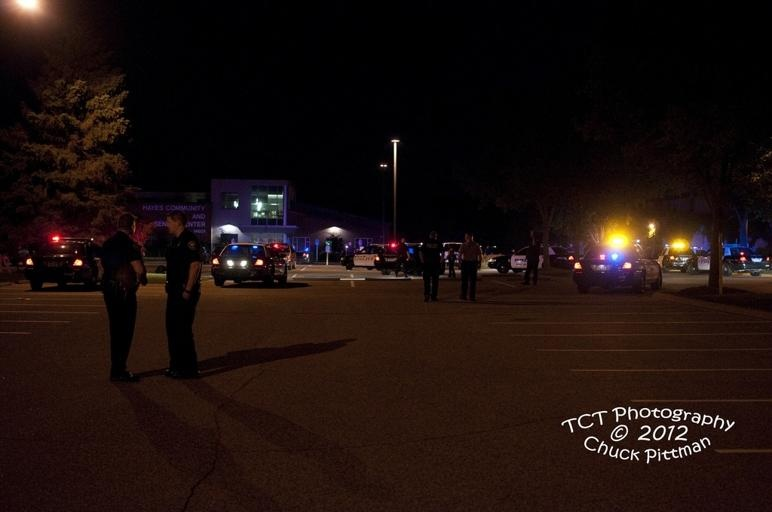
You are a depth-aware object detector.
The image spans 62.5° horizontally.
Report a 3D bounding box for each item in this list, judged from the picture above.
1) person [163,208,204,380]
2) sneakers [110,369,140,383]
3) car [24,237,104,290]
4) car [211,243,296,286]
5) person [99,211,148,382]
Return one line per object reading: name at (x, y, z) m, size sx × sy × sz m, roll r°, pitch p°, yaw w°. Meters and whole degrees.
person at (-3.308, 0.626, 10.420) m, size 0.636 × 2.672 × 0.383 m, roll 3°, pitch 2°, yaw 21°
sneakers at (-4.140, 1.904, 10.119) m, size 0.523 × 0.212 × 0.179 m, roll 2°, pitch -1°, yaw -6°
car at (-12.365, 0.386, 24.440) m, size 1.955 × 1.602 × 4.421 m, roll 0°, pitch 4°, yaw -6°
car at (-6.058, 0.416, 28.587) m, size 3.181 × 1.996 × 2.285 m, roll 2°, pitch 2°, yaw -25°
person at (-4.175, 0.654, 10.107) m, size 0.668 × 2.637 × 0.354 m, roll 2°, pitch 2°, yaw -19°
